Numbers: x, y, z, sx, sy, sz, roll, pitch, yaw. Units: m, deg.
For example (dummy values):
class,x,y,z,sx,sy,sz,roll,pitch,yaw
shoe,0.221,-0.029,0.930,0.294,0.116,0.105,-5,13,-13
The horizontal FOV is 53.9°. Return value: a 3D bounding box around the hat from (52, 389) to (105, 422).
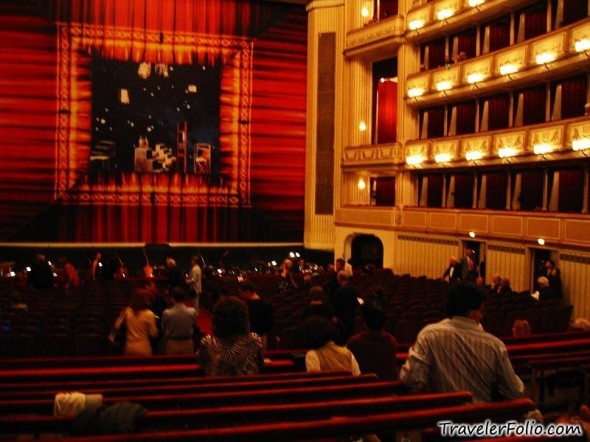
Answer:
class,x,y,z,sx,sy,sz,roll,pitch,yaw
hat,-1.489,1.241,3.916,0.220,0.105,0.178,-2,15,-7
